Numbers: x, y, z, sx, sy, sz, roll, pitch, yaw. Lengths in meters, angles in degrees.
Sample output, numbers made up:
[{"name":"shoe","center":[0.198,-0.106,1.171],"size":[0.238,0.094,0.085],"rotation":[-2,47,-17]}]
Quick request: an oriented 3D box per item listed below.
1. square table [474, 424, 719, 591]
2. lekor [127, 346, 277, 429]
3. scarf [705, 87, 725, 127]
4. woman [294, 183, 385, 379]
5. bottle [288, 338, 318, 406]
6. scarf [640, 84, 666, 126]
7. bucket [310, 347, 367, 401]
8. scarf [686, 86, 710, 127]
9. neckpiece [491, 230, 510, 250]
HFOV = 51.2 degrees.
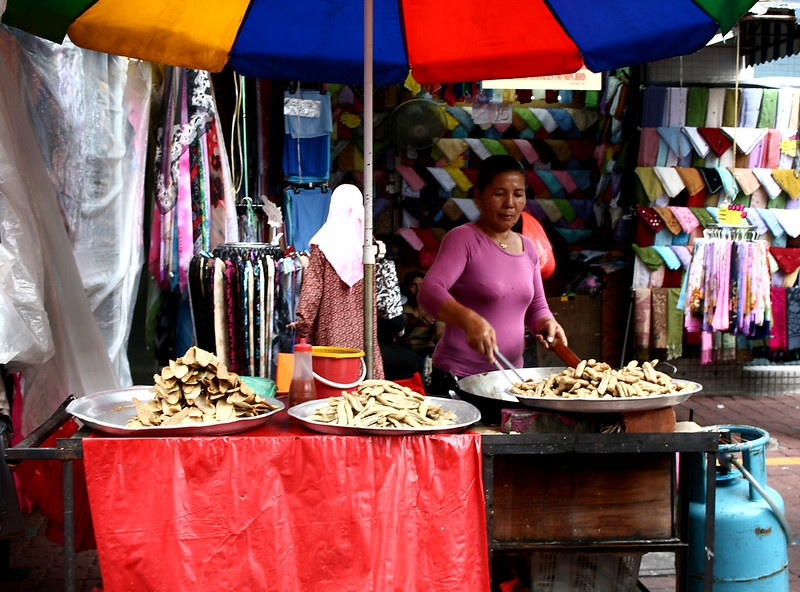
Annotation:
[{"name":"square table","center":[0.824,0.875,3.626],"size":[0.840,0.968,0.693],"rotation":[0,-3,-4]},{"name":"lekor","center":[-0.832,0.308,3.545],"size":[0.381,0.206,0.382],"rotation":[1,0,36]},{"name":"scarf","center":[3.071,-1.831,8.139],"size":[0.173,0.467,0.044],"rotation":[7,44,21]},{"name":"woman","center":[-0.432,0.082,5.779],"size":[0.659,1.740,0.487],"rotation":[-21,36,-41]},{"name":"bottle","center":[-0.441,0.373,3.770],"size":[0.122,0.365,0.123],"rotation":[0,2,0]},{"name":"scarf","center":[2.433,-1.832,8.042],"size":[0.222,0.363,0.098],"rotation":[6,5,13]},{"name":"bucket","center":[-0.285,0.378,3.885],"size":[0.267,0.239,0.275],"rotation":[-8,-2,0]},{"name":"scarf","center":[2.895,-1.839,8.099],"size":[0.188,0.425,0.040],"rotation":[3,-19,14]},{"name":"neckpiece","center":[0.537,-0.303,4.518],"size":[0.070,0.038,0.099],"rotation":[-7,46,-47]}]
